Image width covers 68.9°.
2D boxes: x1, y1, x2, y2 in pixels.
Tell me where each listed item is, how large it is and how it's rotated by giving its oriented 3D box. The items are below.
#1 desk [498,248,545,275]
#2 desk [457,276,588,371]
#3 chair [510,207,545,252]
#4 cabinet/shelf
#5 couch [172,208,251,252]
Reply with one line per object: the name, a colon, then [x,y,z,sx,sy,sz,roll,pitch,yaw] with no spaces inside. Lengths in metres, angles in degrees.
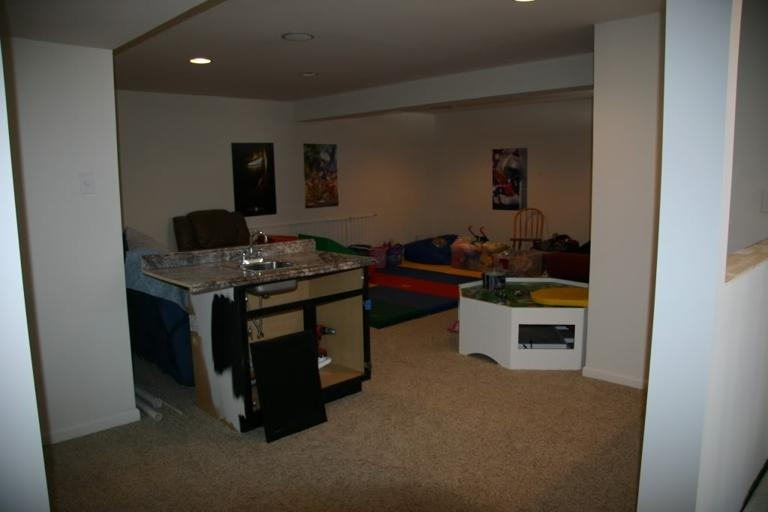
desk: [1.901,0.127,7.768,0.656,0.375,0.653,2,15,12]
desk: [1.505,0.627,5.630,1.354,0.572,1.399,1,10,12]
chair: [2.491,-0.344,9.727,0.664,0.922,0.593,3,-3,-21]
cabinet/shelf: [-0.778,0.678,4.594,0.717,1.223,1.377,2,7,39]
couch: [-2.316,-0.362,7.526,0.976,0.485,0.474,-8,16,-22]
